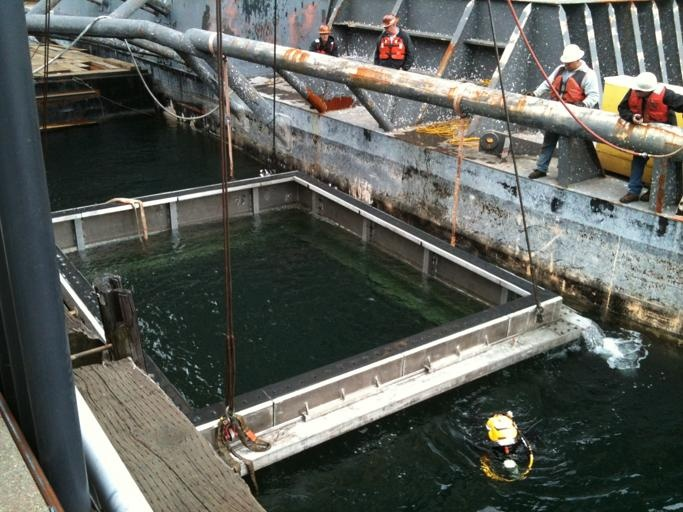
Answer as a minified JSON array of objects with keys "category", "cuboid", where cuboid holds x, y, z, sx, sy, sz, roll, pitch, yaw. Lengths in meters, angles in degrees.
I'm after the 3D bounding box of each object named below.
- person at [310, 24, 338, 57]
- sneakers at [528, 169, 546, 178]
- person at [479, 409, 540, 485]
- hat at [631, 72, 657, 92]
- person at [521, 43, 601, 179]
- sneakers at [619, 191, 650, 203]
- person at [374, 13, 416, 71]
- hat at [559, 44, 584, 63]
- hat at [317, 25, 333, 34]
[{"category":"person","cuboid":[-0.381,-4.869,15.036,0.635,0.952,0.550,12,29,20]},{"category":"sneakers","cuboid":[3.171,-1.349,10.490,0.339,0.155,0.118,-1,23,-1]},{"category":"person","cuboid":[1.829,1.944,6.965,0.608,0.547,0.711,4,28,5]},{"category":"hat","cuboid":[4.165,-2.373,8.824,0.313,0.247,0.265,14,30,22]},{"category":"person","cuboid":[3.458,-2.210,10.094,0.946,2.061,1.314,9,28,15]},{"category":"sneakers","cuboid":[4.284,-0.871,9.428,0.333,0.147,0.114,-10,29,-12]},{"category":"person","cuboid":[1.116,-4.381,13.321,0.783,1.014,0.451,2,27,2]},{"category":"hat","cuboid":[3.485,-3.024,9.736,0.261,0.286,0.336,9,28,15]},{"category":"hat","cuboid":[-0.367,-5.218,14.938,0.222,0.174,0.324,-2,28,-7]}]
